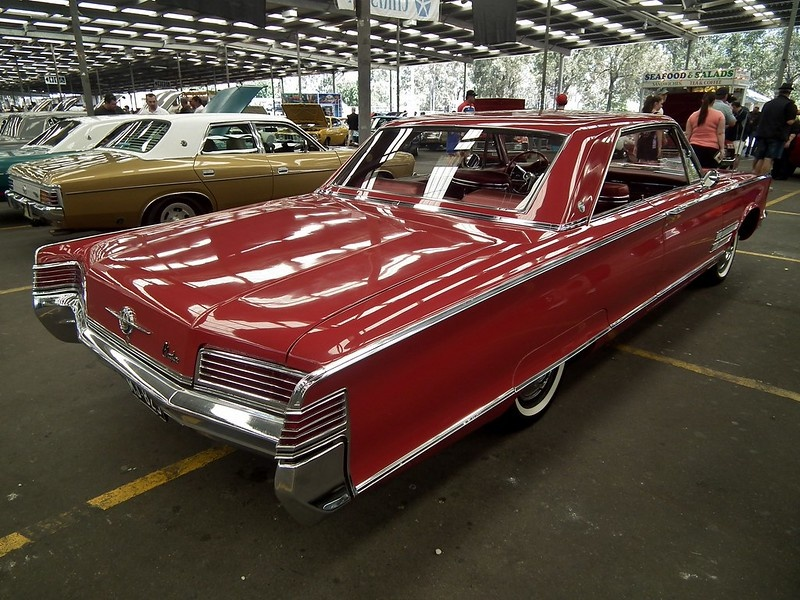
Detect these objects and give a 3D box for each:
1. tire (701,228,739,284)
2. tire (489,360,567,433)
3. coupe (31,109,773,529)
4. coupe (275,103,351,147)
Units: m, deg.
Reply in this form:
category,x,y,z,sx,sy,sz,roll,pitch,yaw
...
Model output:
category,x,y,z,sx,sy,sz,roll,pitch,yaw
tire,3.277,-0.440,4.726,0.166,0.447,0.456,23,62,43
tire,0.739,0.568,2.694,0.502,0.429,0.174,-26,18,-30
coupe,1.062,-0.210,3.359,5.200,1.164,2.198,-18,30,-34
coupe,-3.281,-6.975,18.629,1.825,1.570,4.132,10,23,9
